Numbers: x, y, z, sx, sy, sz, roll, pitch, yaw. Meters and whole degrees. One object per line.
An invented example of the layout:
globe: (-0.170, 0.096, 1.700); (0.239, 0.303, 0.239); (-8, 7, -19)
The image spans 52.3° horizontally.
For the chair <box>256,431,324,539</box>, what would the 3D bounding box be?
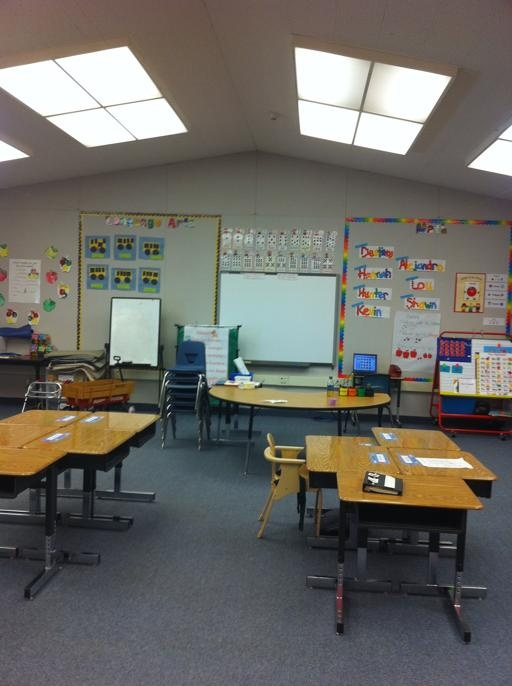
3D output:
chair: (0.214, 0.864, 3.202); (0.425, 0.551, 0.405); (1, 0, 7)

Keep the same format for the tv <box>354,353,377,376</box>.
tv: (1.315, 0.266, 6.293); (0.261, 0.218, 0.089); (1, -6, 3)

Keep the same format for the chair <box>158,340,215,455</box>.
chair: (-0.749, 0.513, 5.443); (0.494, 0.992, 1.078); (1, 4, -8)

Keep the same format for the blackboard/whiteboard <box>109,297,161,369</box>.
blackboard/whiteboard: (-1.524, -0.127, 6.517); (0.635, 0.851, 0.234); (2, 4, -5)

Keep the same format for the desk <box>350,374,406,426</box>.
desk: (1.470, 0.668, 6.325); (0.599, 0.617, 0.504); (-3, 4, 1)

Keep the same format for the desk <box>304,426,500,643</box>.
desk: (0.720, 0.899, 2.722); (0.921, 0.634, 1.264); (2, 4, 5)

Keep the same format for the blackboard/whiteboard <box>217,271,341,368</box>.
blackboard/whiteboard: (0.336, -0.310, 6.470); (1.249, 0.910, 0.163); (1, 9, 5)
